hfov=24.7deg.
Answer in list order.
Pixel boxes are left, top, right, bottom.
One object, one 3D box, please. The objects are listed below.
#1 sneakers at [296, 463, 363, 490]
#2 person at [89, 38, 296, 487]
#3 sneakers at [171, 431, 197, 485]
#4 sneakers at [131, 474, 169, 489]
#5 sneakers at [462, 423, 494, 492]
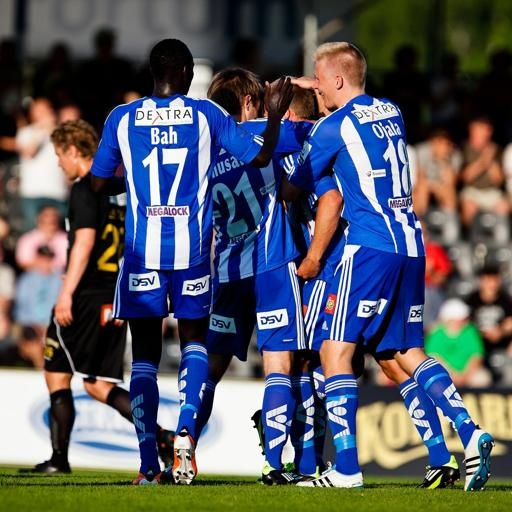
[{"bbox_3d":[0.491,1.501,7.865,0.456,0.226,0.173,1,-15,10],"label":"sneakers"},{"bbox_3d":[-0.510,0.016,8.152,1.099,3.153,1.076,0,-4,11],"label":"person"},{"bbox_3d":[-0.479,1.348,7.752,0.123,0.384,0.167,0,3,-1],"label":"sneakers"},{"bbox_3d":[-0.727,1.527,7.943,0.108,0.105,0.196,4,-3,-41],"label":"sneakers"},{"bbox_3d":[1.482,1.370,7.856,0.142,0.501,0.235,-8,25,-29],"label":"sneakers"}]
